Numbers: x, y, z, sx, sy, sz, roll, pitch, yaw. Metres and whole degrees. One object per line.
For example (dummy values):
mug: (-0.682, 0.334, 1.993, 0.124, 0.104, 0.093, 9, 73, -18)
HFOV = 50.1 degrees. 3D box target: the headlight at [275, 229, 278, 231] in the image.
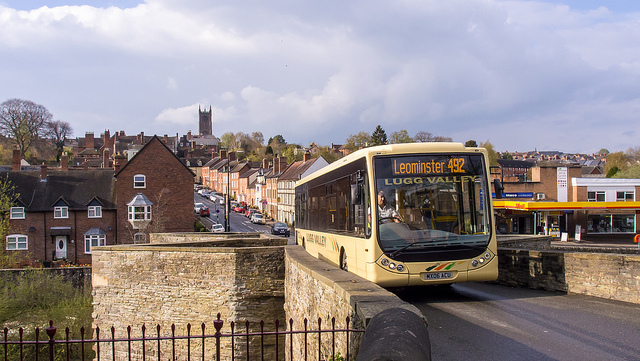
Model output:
headlight: (-5.606, 6.293, 88.683, 0.289, 0.134, 0.372, -3, 0, -31)

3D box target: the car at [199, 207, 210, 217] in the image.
car: (-18.147, 4.925, 107.644, 1.601, 1.199, 2.609, -1, 2, -13)

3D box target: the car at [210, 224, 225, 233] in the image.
car: (-13.081, 6.057, 87.896, 1.253, 0.800, 2.513, 0, 4, -9)

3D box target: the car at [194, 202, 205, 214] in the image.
car: (-19.808, 4.337, 112.007, 1.743, 1.329, 2.941, -1, -3, -20)

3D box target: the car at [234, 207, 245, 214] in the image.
car: (-14.074, 5.134, 119.964, 1.199, 0.665, 2.035, 1, -2, -23)

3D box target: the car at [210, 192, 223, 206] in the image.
car: (-19.827, 3.360, 130.848, 1.927, 1.563, 5.292, 0, 1, -30)

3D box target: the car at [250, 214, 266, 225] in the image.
car: (-9.363, 5.830, 104.203, 1.853, 1.564, 1.455, -2, -5, 1)

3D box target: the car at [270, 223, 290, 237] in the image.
car: (-5.128, 6.298, 89.139, 1.993, 1.710, 2.795, 0, -5, -20)
